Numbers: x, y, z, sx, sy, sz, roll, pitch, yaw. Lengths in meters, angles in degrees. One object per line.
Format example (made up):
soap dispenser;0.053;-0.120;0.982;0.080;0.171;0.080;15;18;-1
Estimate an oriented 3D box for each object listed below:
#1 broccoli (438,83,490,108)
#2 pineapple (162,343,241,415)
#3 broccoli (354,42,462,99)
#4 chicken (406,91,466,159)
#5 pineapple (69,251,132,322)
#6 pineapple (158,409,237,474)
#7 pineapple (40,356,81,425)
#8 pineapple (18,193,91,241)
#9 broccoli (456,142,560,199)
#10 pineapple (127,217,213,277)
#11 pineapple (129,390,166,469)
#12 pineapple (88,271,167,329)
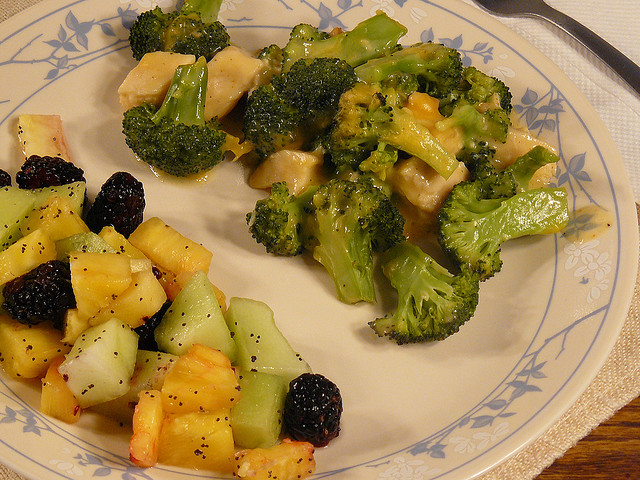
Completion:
broccoli;0.748;-0.734;3.285;0.206;0.051;0.138;-13;79;11
pineapple;-0.482;0.564;2.571;0.301;0.170;0.275;-3;83;1
broccoli;0.489;-0.901;3.269;0.411;0.171;0.327;-6;55;0
chicken;0.565;-0.611;3.175;0.358;0.091;0.235;54;44;-1
pineapple;-0.907;0.179;2.636;0.231;0.123;0.290;-9;83;0
pineapple;-0.492;0.806;2.629;0.263;0.172;0.282;2;56;-2
pineapple;-1.061;0.619;2.604;0.168;0.069;0.261;10;83;2
pineapple;-1.213;-0.058;2.849;0.236;0.111;0.215;-37;84;-4
broccoli;0.990;-0.358;3.271;0.350;0.153;0.365;-26;57;10
pineapple;-0.734;0.090;3.043;0.424;0.240;0.149;14;96;-29
pineapple;-0.683;0.746;2.501;0.142;0.071;0.292;13;71;-34
pineapple;-0.814;0.256;2.674;0.096;0.239;0.260;41;105;36
